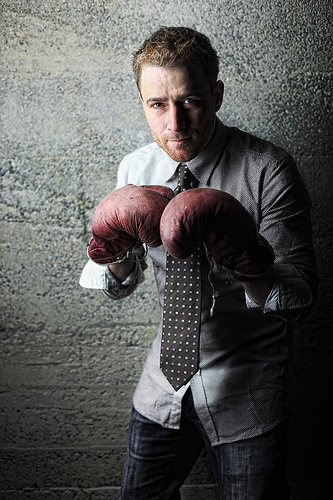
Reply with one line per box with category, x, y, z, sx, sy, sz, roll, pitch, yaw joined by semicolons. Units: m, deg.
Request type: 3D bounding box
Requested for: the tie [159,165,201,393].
tie;0.045;0.014;1.427;0.129;0.723;0.062;2;-2;-25
